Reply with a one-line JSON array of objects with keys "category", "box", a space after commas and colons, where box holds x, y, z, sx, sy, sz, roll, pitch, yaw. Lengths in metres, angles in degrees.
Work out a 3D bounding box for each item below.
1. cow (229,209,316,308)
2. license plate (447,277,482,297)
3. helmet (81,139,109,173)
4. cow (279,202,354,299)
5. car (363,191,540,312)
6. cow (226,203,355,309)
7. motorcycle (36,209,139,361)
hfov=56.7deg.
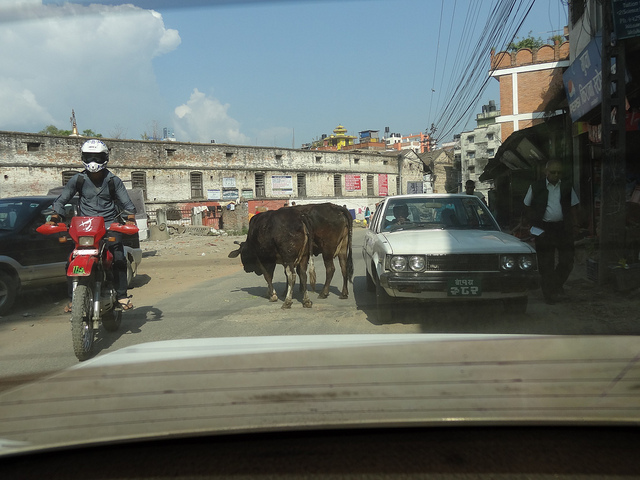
[{"category": "cow", "box": [-0.762, 0.323, 9.545, 0.814, 1.497, 2.680, -1, 0, -27]}, {"category": "license plate", "box": [1.631, 0.536, 6.713, 0.367, 0.218, 0.040, 0, 6, 8]}, {"category": "helmet", "box": [-2.616, -0.978, 6.863, 0.319, 0.377, 0.413, -4, 11, -18]}, {"category": "cow", "box": [-0.421, 0.147, 10.657, 2.384, 1.604, 0.668, 2, 6, 37]}, {"category": "car", "box": [1.597, 0.196, 7.691, 1.793, 1.524, 2.119, -1, 6, -2]}, {"category": "cow", "box": [-0.332, 0.202, 9.517, 2.207, 1.517, 2.029, -3, 6, -18]}, {"category": "motorcycle", "box": [-2.552, 0.450, 6.716, 0.954, 1.566, 1.098, -3, 6, -19]}]
